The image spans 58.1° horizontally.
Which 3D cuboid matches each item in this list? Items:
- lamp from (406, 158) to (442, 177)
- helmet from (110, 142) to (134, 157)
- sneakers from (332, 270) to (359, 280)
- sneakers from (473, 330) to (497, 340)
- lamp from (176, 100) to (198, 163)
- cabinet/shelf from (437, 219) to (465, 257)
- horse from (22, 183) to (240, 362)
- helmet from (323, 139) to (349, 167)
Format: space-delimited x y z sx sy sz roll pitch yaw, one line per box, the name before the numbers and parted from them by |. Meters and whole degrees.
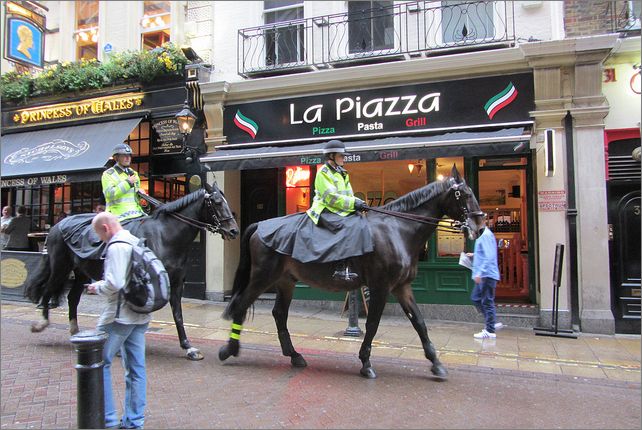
lamp | 2.727 -1.190 15.435 0.598 0.675 0.420 1 3 14
helmet | -4.254 -1.360 12.290 0.429 0.235 0.312 -1 1 23
sneakers | 0.494 1.229 11.423 0.346 0.162 0.225 0 -2 -12
sneakers | 3.801 2.800 13.415 0.535 0.241 0.201 1 -5 11
lamp | -3.790 -2.370 16.324 0.521 1.851 1.058 -1 1 -11
cabinet/shelf | 3.112 0.610 13.785 0.938 0.936 0.518 0 -7 7
horse | -4.238 1.157 12.467 5.213 3.551 1.522 1 -1 17
helmet | 0.312 -1.234 11.718 0.502 0.557 0.436 -5 9 1
